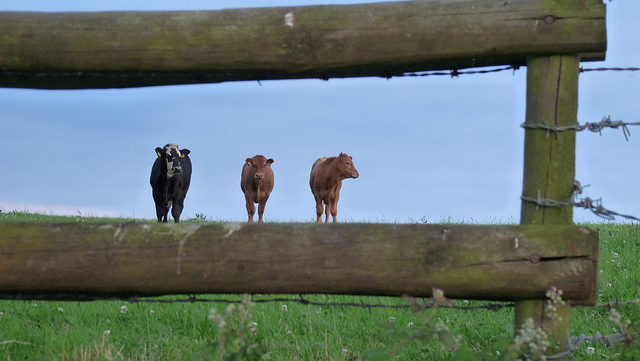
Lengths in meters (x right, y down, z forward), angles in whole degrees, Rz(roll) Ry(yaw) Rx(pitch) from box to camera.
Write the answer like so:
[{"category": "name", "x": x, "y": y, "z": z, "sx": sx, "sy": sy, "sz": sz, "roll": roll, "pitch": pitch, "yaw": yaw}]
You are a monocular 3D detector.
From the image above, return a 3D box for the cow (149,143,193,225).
[{"category": "cow", "x": -2.932, "y": 0.105, "z": 22.588, "sx": 0.768, "sy": 1.378, "sz": 2.693, "roll": 0, "pitch": -5, "yaw": -11}]

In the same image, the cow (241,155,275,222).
[{"category": "cow", "x": -1.273, "y": 0.192, "z": 24.370, "sx": 0.585, "sy": 1.173, "sz": 2.047, "roll": 3, "pitch": 13, "yaw": -4}]

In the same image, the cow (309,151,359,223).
[{"category": "cow", "x": 0.180, "y": 0.202, "z": 23.664, "sx": 0.688, "sy": 1.464, "sz": 2.516, "roll": 8, "pitch": -4, "yaw": -18}]
